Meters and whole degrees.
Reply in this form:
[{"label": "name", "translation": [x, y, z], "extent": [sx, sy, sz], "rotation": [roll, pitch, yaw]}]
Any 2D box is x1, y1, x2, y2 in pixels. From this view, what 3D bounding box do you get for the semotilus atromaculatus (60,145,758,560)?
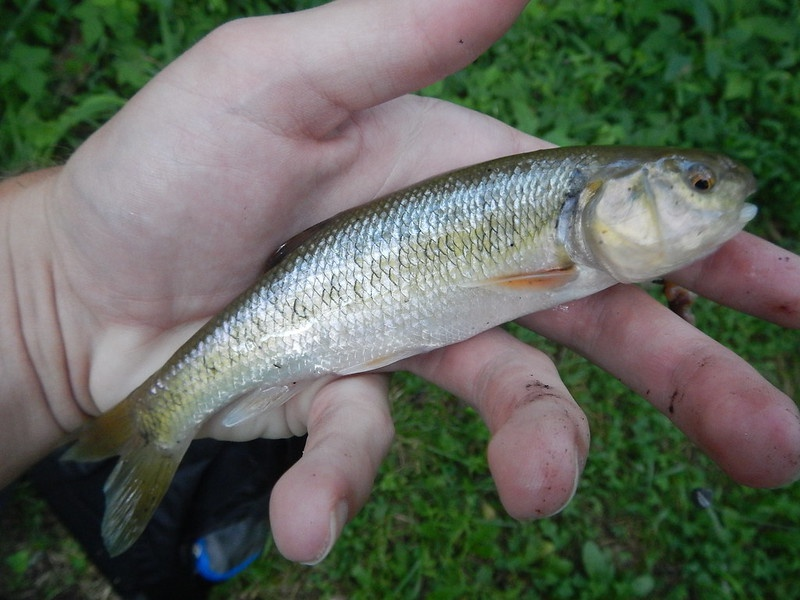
[{"label": "semotilus atromaculatus", "translation": [0.068, -0.070, 3.964], "extent": [3.819, 0.545, 1.063], "rotation": [-25, 82, -1]}]
